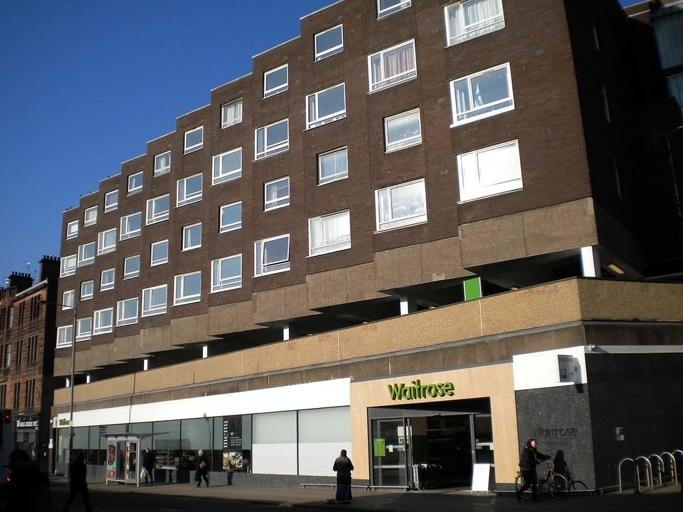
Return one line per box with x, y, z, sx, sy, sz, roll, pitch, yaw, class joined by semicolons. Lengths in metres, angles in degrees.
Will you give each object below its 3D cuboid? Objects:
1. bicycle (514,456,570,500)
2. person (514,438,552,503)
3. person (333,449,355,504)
7.181;8.279;27.672;1.010;1.243;2.011;19;-33;-37;bicycle
6.877;7.715;27.479;1.217;2.191;1.139;-6;-20;13;person
0.053;8.476;29.207;0.704;1.948;0.740;-1;-19;0;person
